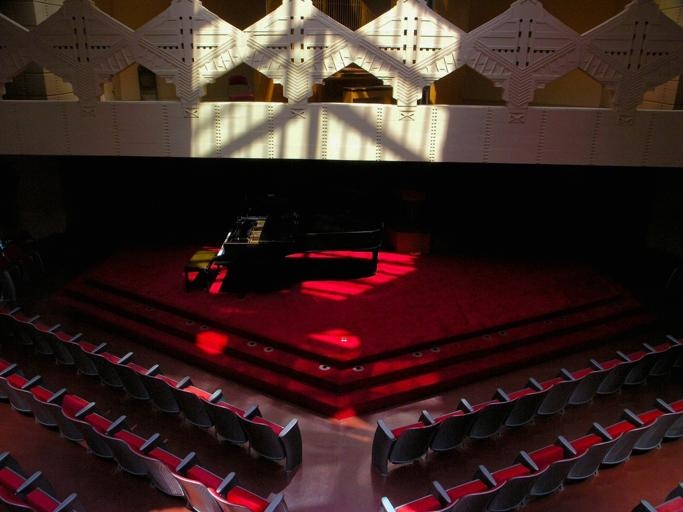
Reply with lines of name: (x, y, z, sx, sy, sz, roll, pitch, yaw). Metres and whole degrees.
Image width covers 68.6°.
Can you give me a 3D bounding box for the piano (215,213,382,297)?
piano: (-1.079, -0.200, 12.265, 3.070, 2.292, 0.760, 1, -61, -2)
